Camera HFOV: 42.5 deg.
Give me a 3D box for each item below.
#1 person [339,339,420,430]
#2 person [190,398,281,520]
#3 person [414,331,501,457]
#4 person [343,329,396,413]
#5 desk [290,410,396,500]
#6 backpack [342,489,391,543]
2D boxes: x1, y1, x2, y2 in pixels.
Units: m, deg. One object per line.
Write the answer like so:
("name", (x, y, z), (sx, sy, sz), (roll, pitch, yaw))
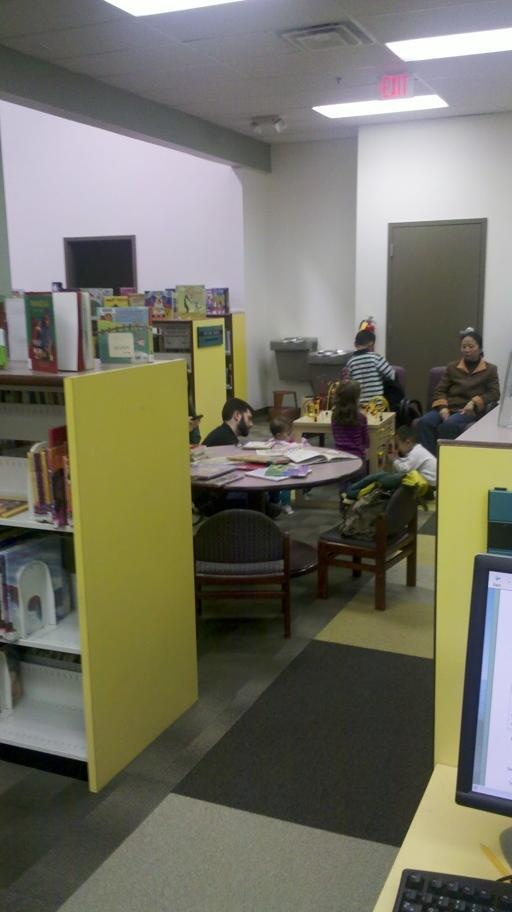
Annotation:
("person", (1.149, -0.695, 6.536), (0.462, 1.199, 0.362), (0, 32, 21))
("person", (-0.089, 0.029, 5.101), (0.646, 0.956, 0.383), (-1, -13, -17))
("person", (1.927, -0.496, 6.358), (0.828, 1.431, 0.593), (-6, 12, -42))
("person", (1.147, -0.674, 6.547), (0.535, 1.179, 0.587), (1, 5, 24))
("desk", (0.806, -0.070, 5.880), (0.642, 0.690, 0.683), (4, 12, 25))
("backpack", (0.638, 0.338, 3.826), (0.148, 0.284, 0.297), (-8, 10, -44))
